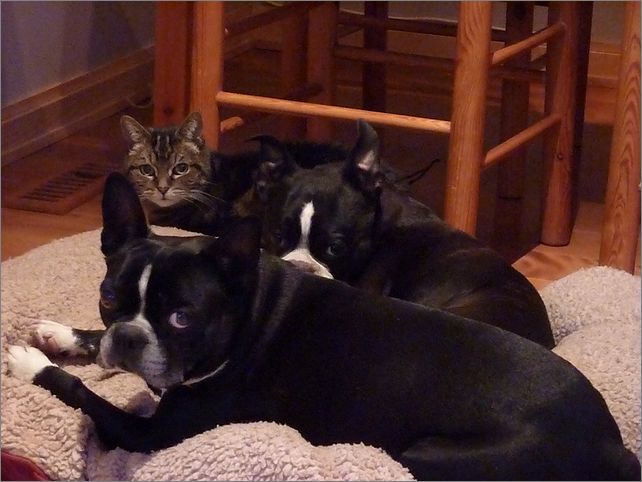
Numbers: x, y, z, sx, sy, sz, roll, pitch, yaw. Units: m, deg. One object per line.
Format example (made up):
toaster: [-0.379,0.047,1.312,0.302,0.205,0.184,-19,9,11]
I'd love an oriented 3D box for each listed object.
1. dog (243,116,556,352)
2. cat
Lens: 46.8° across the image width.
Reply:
dog: [0.120,0.098,2.247,0.379,0.662,1.099,-3,-5,19]
cat: [-0.264,-0.244,2.383,0.805,0.475,0.321,-6,10,3]
